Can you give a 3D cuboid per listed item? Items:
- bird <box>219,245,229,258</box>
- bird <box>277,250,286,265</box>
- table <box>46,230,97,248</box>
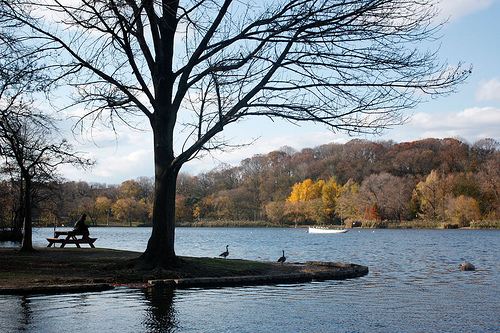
[{"bbox_3d":[-1.722,5.868,48.297,0.658,0.883,0.352,1,3,23],"label":"bird"},{"bbox_3d":[1.997,5.917,47.054,0.499,0.925,1.618,-3,-9,2],"label":"bird"},{"bbox_3d":[-12.699,5.227,51.494,2.932,1.217,3.587,2,-11,-31],"label":"table"}]
